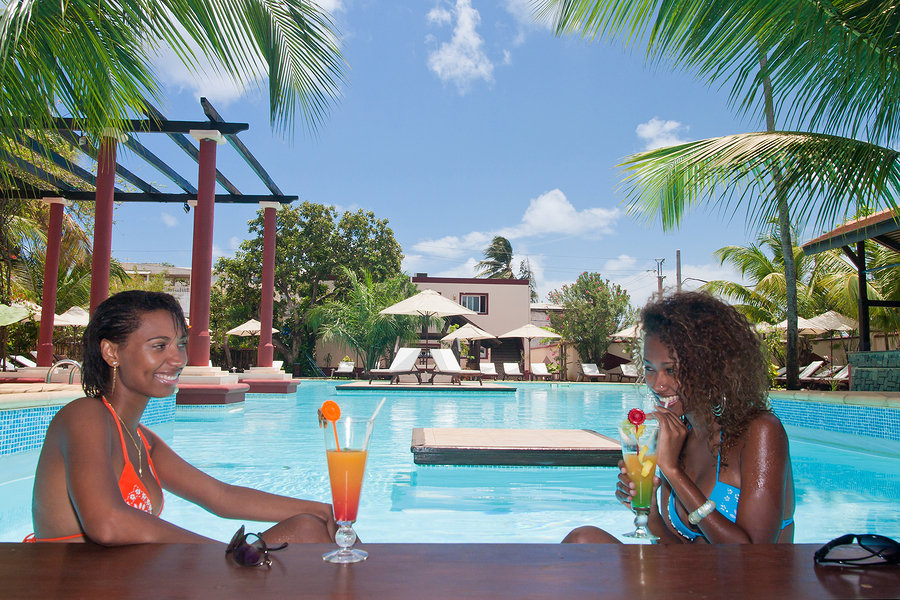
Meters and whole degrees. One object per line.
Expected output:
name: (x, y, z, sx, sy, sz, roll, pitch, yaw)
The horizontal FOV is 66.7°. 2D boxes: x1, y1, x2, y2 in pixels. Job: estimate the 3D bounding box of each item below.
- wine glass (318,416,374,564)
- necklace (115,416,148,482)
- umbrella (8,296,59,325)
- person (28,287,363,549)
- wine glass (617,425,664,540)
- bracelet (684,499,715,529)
wine glass: (-0.369, 0.650, 2.416, 0.149, 0.463, 0.263, 0, -5, -9)
necklace: (-1.351, 0.603, 2.903, 0.125, 0.235, 0.058, -11, 0, -41)
umbrella: (-9.113, 0.231, 14.958, 0.492, 0.264, 0.543, 1, -31, -1)
person: (-1.206, 0.472, 2.838, 1.113, 1.039, 0.643, 1, -6, -14)
wine glass: (0.821, 0.784, 2.960, 0.149, 0.531, 0.283, -2, -6, 14)
bracelet: (1.036, 0.874, 2.849, 0.101, 0.033, 0.091, -46, -25, 8)
